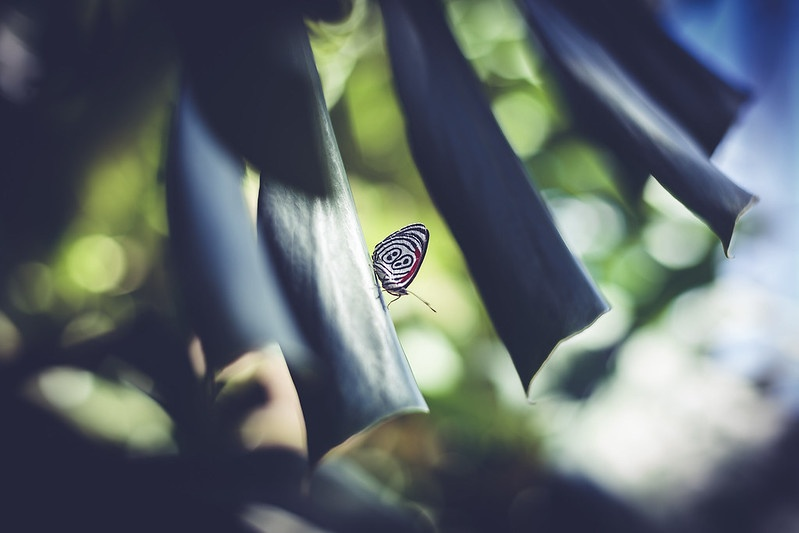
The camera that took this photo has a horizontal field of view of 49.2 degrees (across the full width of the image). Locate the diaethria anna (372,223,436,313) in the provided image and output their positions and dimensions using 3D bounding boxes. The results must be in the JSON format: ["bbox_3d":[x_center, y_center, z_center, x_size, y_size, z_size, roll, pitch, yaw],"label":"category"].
[{"bbox_3d":[0.019,-0.052,2.712,0.151,0.311,0.154,22,45,23],"label":"diaethria anna"}]
